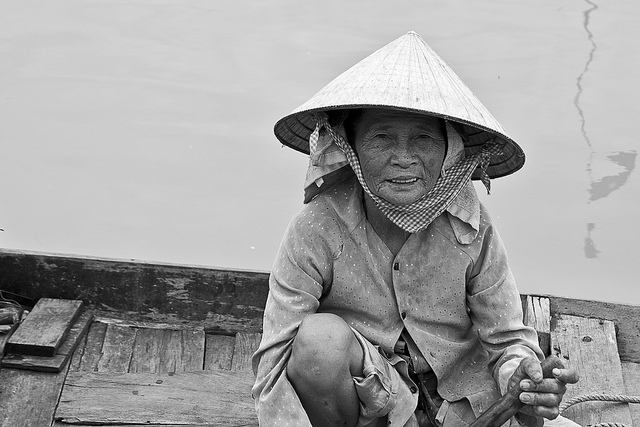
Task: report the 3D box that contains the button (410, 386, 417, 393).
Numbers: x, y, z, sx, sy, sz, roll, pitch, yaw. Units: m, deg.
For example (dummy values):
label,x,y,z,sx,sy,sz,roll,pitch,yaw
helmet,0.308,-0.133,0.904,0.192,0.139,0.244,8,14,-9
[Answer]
label,x,y,z,sx,sy,sz,roll,pitch,yaw
button,0.415,0.768,3.426,0.025,0.025,0.006,-4,-4,1

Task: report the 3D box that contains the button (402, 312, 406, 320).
label,x,y,z,sx,sy,sz,roll,pitch,yaw
button,0.378,0.448,3.460,0.006,0.022,0.022,3,14,35

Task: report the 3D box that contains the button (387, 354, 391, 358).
label,x,y,z,sx,sy,sz,roll,pitch,yaw
button,0.311,0.627,3.459,0.015,0.014,0.005,5,-19,5

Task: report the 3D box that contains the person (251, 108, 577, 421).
label,x,y,z,sx,sy,sz,roll,pitch,yaw
person,0.409,0.287,3.444,1.191,1.333,0.655,12,-20,-15
